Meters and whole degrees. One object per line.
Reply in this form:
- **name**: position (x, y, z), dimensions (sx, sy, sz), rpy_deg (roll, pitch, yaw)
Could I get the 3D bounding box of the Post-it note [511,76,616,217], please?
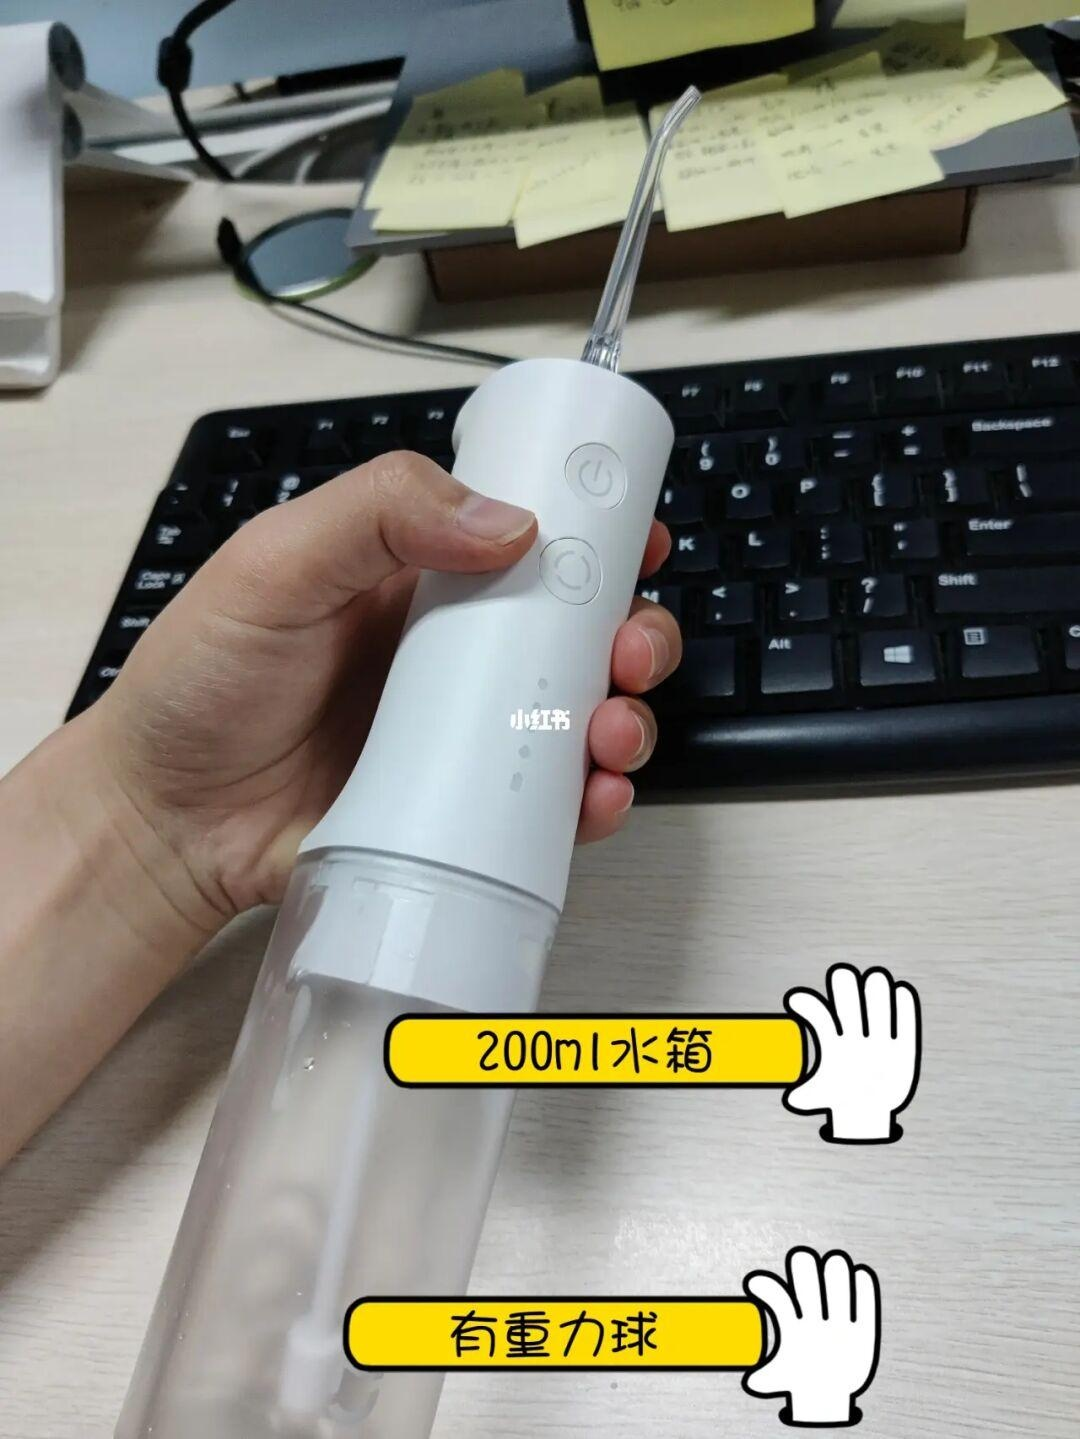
- **Post-it note**: position (0.011, -0.229, 0.512), dimensions (0.049, 0.020, 0.067), rpy_deg (-10, 44, 6)
